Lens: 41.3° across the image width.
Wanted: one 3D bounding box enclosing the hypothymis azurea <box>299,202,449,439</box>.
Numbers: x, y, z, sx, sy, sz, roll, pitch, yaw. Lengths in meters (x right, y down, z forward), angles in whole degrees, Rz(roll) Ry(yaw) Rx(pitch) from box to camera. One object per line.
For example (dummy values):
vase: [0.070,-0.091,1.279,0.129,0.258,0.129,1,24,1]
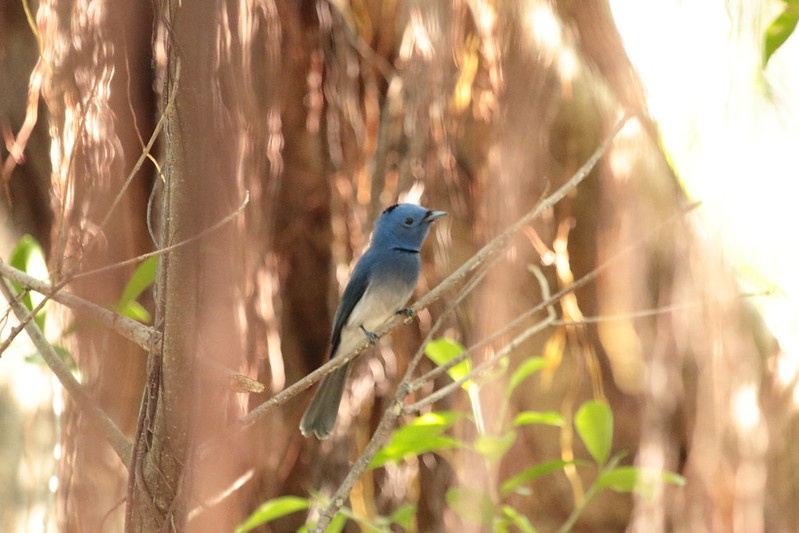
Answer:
hypothymis azurea: [-0.117,0.053,3.383,0.666,0.360,0.211,-18,-3,38]
